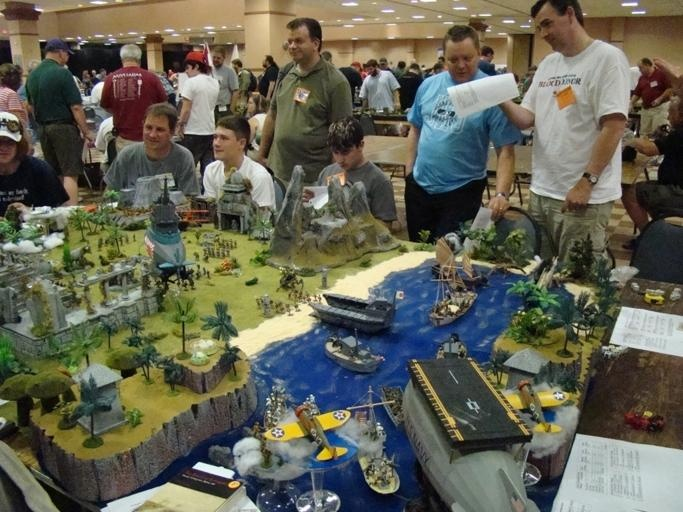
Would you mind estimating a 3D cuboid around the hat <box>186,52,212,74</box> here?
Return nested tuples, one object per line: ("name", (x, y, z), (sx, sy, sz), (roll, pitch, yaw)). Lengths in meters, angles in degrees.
("hat", (-3.153, -4.232, 10.795), (0.471, 0.416, 0.955), (-3, 14, -16))

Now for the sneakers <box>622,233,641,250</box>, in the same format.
("sneakers", (5.101, -0.249, 8.706), (0.506, 0.198, 0.180), (-29, 31, -34))
